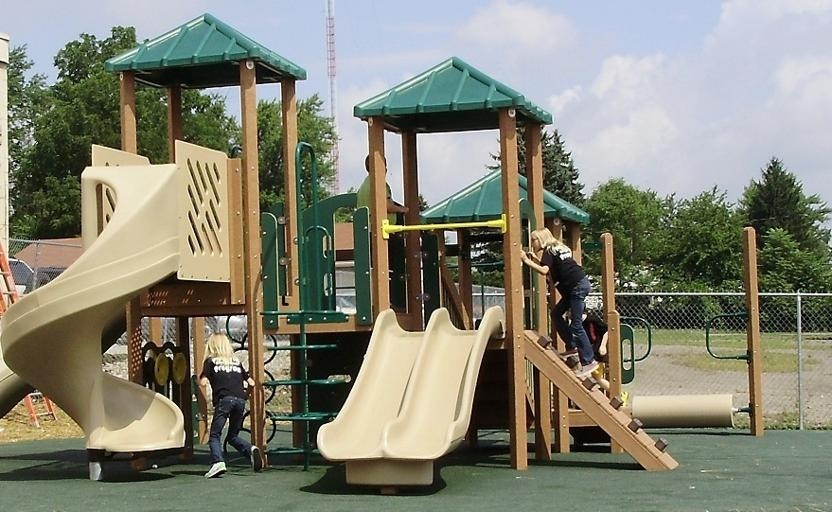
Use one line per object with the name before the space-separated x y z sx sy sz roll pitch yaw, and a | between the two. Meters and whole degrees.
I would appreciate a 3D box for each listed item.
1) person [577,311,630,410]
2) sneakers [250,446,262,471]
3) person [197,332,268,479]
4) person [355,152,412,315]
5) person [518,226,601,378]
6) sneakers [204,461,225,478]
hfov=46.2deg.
person | 3.227 1.712 17.909 0.983 2.000 0.883 -10 -16 12
sneakers | -2.572 3.221 15.674 0.160 0.426 0.172 -7 6 -33
person | -2.947 2.336 15.557 0.945 2.256 0.774 0 -3 -10
person | -0.522 -0.470 17.567 0.769 2.553 0.777 1 4 -9
person | 2.473 0.738 16.552 1.111 2.530 1.467 -2 -4 16
sneakers | -3.130 3.331 15.381 0.412 0.181 0.161 -35 -19 33
